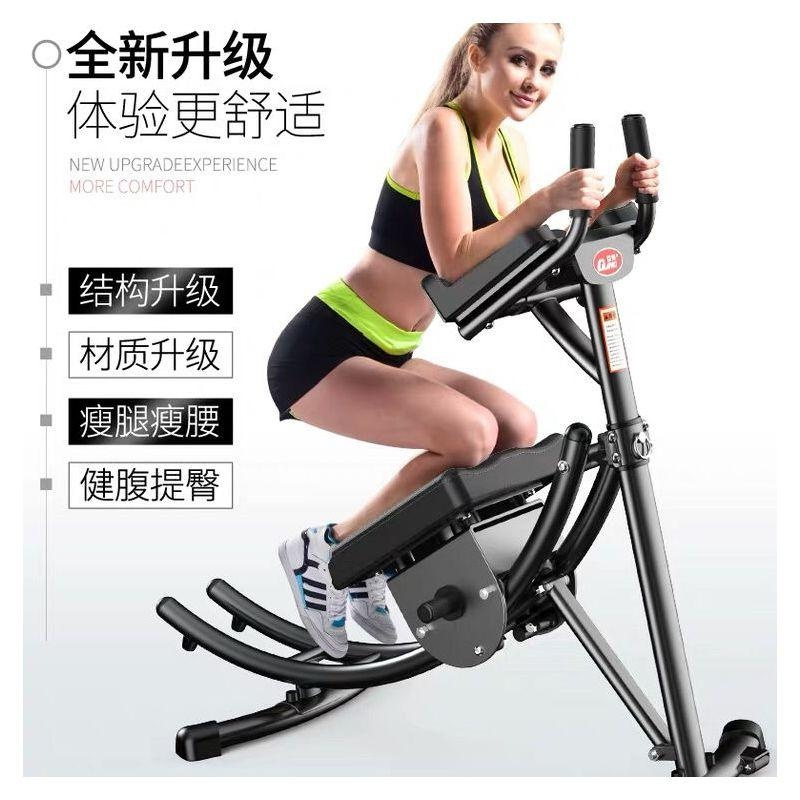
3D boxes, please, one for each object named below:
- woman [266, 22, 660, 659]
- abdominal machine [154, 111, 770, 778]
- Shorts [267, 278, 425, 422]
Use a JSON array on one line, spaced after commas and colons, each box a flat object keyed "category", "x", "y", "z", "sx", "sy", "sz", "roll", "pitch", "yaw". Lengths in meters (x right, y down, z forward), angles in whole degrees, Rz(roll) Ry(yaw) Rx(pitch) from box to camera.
[{"category": "woman", "x": 0.149, "y": -0.097, "z": 2.041, "sx": 0.903, "sy": 1.468, "sz": 0.575, "roll": 7, "pitch": 8, "yaw": 32}, {"category": "abdominal machine", "x": 0.111, "y": 0.149, "z": 1.893, "sx": 1.346, "sy": 1.258, "sz": 0.792, "roll": -1, "pitch": 0, "yaw": 28}, {"category": "Shorts", "x": -0.126, "y": -0.126, "z": 2.162, "sx": 0.319, "sy": 0.376, "sz": 0.441, "roll": 10, "pitch": 12, "yaw": 32}]
